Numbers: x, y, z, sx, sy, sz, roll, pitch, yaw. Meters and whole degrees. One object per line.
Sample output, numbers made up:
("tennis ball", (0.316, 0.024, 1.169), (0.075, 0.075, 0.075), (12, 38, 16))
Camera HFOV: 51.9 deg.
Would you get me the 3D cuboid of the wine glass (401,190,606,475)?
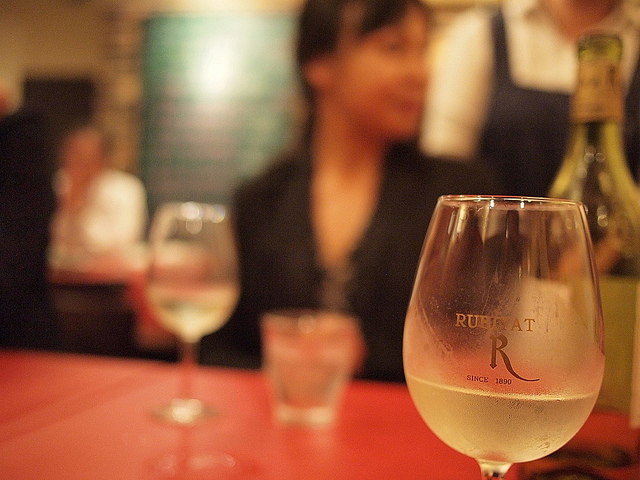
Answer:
("wine glass", (0.155, 0.083, 0.553), (0.165, 0.235, 0.105), (6, 20, 7))
